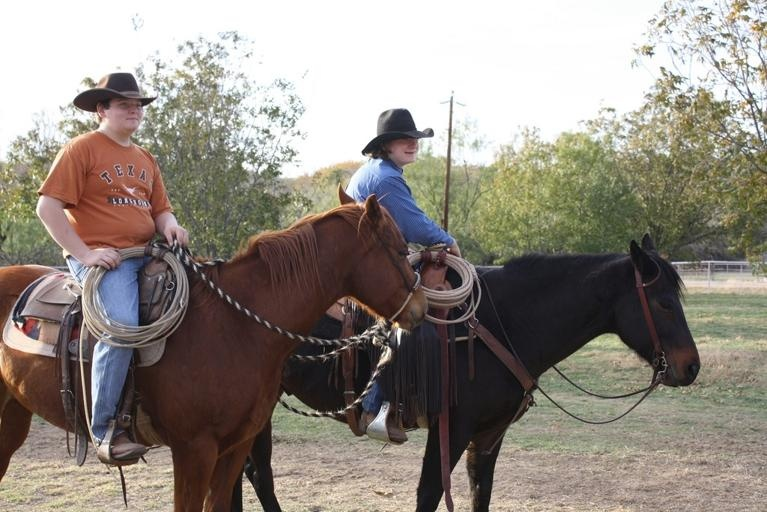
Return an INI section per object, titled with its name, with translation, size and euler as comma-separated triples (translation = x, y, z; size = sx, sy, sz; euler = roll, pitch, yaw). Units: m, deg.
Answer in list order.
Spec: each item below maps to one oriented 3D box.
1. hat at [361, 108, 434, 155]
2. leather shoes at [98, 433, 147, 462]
[hat]
translation = 0.173, -1.473, 9.919
size = 0.750, 0.383, 0.850
euler = 0, -1, -23
[leather shoes]
translation = -2.617, 1.935, 8.643
size = 0.564, 0.282, 0.213
euler = -2, -5, 10
